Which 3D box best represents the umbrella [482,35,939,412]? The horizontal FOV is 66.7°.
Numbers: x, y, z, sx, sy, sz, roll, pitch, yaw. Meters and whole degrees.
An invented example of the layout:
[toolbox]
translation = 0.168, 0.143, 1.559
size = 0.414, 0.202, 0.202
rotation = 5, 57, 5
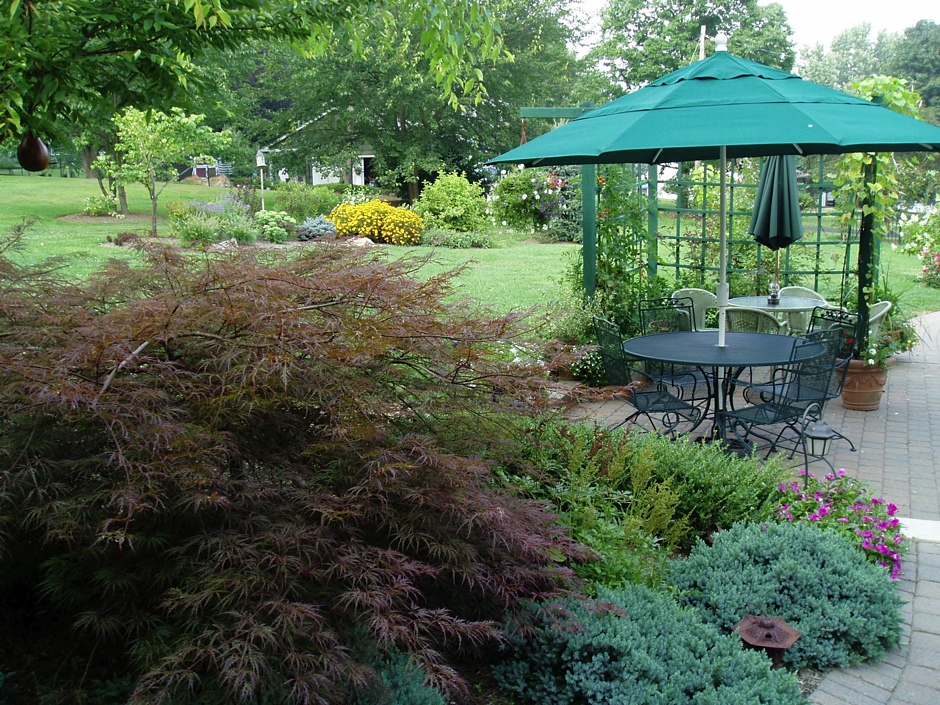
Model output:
[umbrella]
translation = 1.728, -0.975, 5.409
size = 3.268, 1.657, 2.777
rotation = -1, 8, 0
